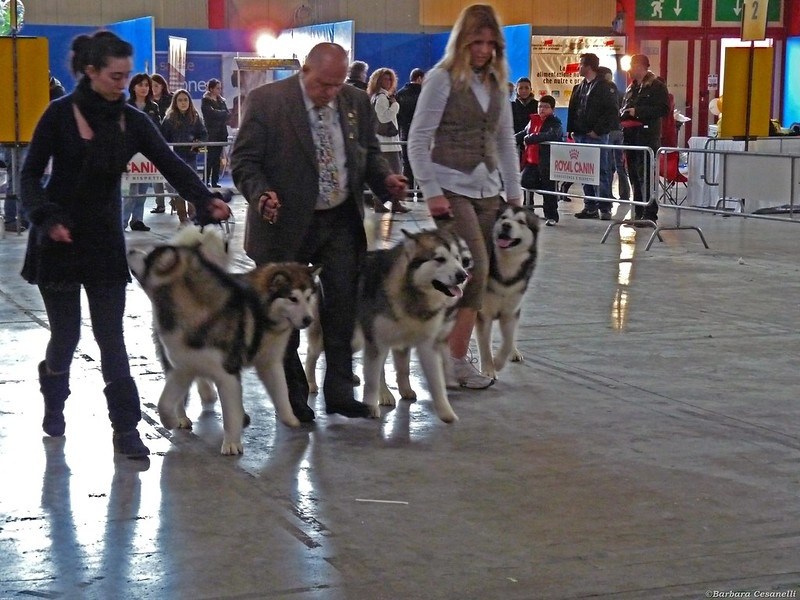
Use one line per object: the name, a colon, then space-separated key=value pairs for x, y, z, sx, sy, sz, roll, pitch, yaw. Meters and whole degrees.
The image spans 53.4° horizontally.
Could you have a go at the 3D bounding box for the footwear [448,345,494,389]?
footwear: x=0.498 y=0.519 z=5.728 sx=0.165 sy=0.214 sz=0.465 roll=-3 pitch=5 yaw=-38

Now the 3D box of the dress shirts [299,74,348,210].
dress shirts: x=-0.396 y=-0.928 z=4.770 sx=0.236 sy=0.846 sz=0.120 roll=-10 pitch=33 yaw=-14

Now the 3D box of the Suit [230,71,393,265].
Suit: x=-0.534 y=-0.778 z=4.778 sx=0.930 sy=1.130 sz=0.505 roll=-2 pitch=13 yaw=-11

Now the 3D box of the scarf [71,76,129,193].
scarf: x=-1.560 y=-0.898 z=4.167 sx=0.301 sy=0.431 sz=0.151 roll=9 pitch=3 yaw=-30

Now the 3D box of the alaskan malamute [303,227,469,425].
alaskan malamute: x=-0.107 y=0.135 z=5.333 sx=0.556 sy=1.183 sz=1.818 roll=-3 pitch=4 yaw=-34

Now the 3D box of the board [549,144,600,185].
board: x=2.928 y=-2.347 z=13.490 sx=1.305 sy=0.699 sz=0.055 roll=-4 pitch=4 yaw=-40

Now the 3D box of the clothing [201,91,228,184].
clothing: x=-4.257 y=-3.856 z=18.491 sx=0.711 sy=2.374 sz=0.764 roll=-1 pitch=11 yaw=-17
